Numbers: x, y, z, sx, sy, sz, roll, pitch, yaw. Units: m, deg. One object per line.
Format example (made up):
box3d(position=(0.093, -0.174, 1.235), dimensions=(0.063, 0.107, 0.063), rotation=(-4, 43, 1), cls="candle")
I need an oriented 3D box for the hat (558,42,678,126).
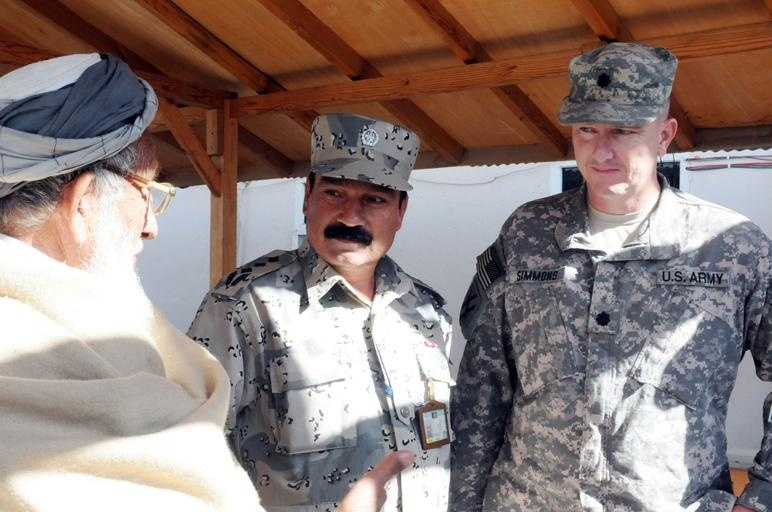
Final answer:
box3d(position=(1.026, -0.816, 4.003), dimensions=(0.508, 0.685, 0.201), rotation=(5, -50, 23), cls="hat")
